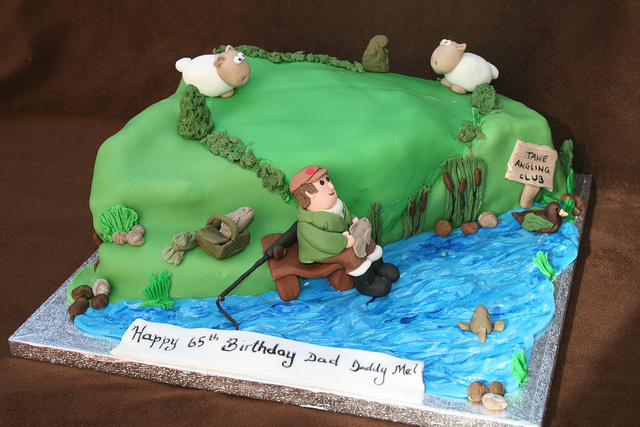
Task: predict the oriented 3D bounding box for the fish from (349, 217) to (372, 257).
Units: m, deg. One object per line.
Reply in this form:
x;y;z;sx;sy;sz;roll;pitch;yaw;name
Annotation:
0.301;0.181;5.025;0.179;0.259;0.087;3;-4;-30;fish

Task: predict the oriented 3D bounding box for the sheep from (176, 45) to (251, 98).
-0.862;-1.154;5.450;0.629;0.363;0.411;7;38;9;sheep

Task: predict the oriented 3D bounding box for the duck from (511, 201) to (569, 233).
1.835;0.026;5.533;0.433;0.289;0.275;15;37;44;duck

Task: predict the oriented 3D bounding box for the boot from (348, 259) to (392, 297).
0.377;0.493;5.046;0.270;0.262;0.172;19;47;27;boot

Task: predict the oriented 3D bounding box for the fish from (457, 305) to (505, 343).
1.153;0.808;4.815;0.312;0.126;0.330;-4;25;-17;fish

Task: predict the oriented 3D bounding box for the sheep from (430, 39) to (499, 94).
1.151;-1.246;5.733;0.601;0.410;0.352;0;31;-1;sheep
